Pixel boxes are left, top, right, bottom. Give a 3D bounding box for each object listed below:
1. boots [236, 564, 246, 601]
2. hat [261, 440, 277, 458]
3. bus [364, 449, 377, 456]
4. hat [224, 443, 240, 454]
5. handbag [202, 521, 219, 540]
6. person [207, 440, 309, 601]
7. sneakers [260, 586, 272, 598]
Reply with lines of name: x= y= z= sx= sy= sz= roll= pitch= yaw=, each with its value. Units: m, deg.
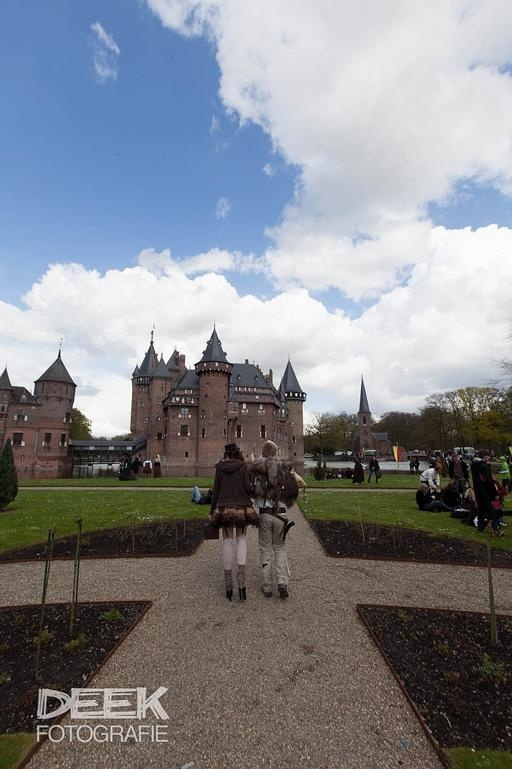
boots: x=-0.171 y=2.297 z=5.117 sx=0.106 sy=0.374 sz=0.168 roll=0 pitch=-8 yaw=-2
hat: x=0.159 y=0.784 z=5.554 sx=0.197 sy=0.232 sz=0.197 roll=-2 pitch=1 yaw=-6
bus: x=23.129 y=13.590 z=89.944 sx=1.960 sy=1.616 sz=11.595 roll=-2 pitch=-9 yaw=13
hat: x=-0.312 y=0.788 z=5.501 sx=0.122 sy=0.099 sz=0.178 roll=-4 pitch=-5 yaw=-15
handbag: x=-0.541 y=1.743 z=5.275 sx=0.214 sy=0.193 sz=0.181 roll=4 pitch=-9 yaw=-26
person: x=0.006 y=1.672 z=5.726 sx=1.095 sy=1.872 sz=1.229 roll=-1 pitch=-8 yaw=5
sneakers: x=0.122 y=2.469 z=5.292 sx=0.129 sy=0.110 sz=0.169 roll=-1 pitch=-9 yaw=3
